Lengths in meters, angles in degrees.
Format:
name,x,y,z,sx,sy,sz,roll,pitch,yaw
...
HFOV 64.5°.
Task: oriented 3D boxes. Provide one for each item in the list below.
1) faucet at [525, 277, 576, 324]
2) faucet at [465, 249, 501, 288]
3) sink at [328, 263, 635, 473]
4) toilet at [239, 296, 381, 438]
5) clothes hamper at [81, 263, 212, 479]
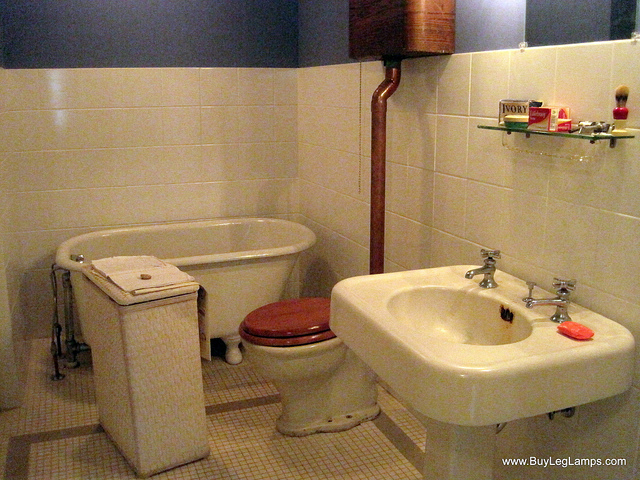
name,x,y,z,sx,sy,sz,roll,pitch,yaw
faucet,0.684,0.189,1.535,0.224,0.131,0.094,-3,10,-33
faucet,0.567,0.103,1.793,0.165,0.126,0.085,-4,9,-31
sink,0.492,0.278,1.622,0.726,0.248,0.713,-9,20,-20
toilet,-0.054,0.681,2.592,0.737,0.501,0.466,-3,-3,-33
clothes hamper,-0.823,0.590,2.285,0.595,0.880,0.433,8,25,25
